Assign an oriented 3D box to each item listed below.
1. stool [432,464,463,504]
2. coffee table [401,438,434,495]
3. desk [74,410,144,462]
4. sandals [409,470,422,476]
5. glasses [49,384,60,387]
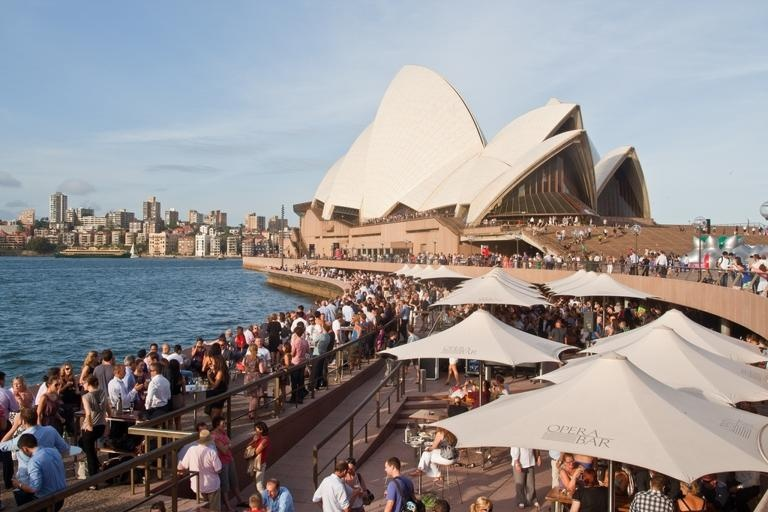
[{"bbox_3d":[1.282,4.679,14.710,0.523,0.739,0.524,-3,2,0],"label":"stool"},{"bbox_3d":[0.710,4.363,15.084,0.791,0.959,0.801,-1,-3,34],"label":"coffee table"},{"bbox_3d":[-5.333,3.409,13.240,0.664,0.919,1.357,0,-15,19],"label":"desk"},{"bbox_3d":[0.628,4.481,14.795,0.200,0.130,0.358,0,-7,4],"label":"sandals"},{"bbox_3d":[-6.541,2.556,14.214,0.089,0.049,0.069,-11,1,14],"label":"glasses"}]
